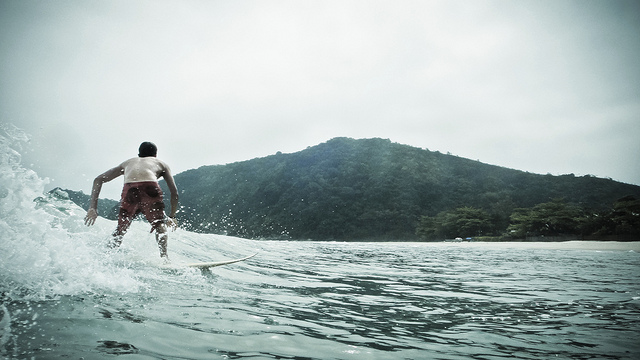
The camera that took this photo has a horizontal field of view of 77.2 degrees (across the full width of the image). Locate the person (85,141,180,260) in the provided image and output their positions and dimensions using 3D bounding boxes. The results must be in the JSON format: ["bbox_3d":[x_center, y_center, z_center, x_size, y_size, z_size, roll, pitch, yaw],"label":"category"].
[{"bbox_3d":[-4.091,0.628,8.896,1.757,2.615,0.602,4,-1,-17],"label":"person"}]
